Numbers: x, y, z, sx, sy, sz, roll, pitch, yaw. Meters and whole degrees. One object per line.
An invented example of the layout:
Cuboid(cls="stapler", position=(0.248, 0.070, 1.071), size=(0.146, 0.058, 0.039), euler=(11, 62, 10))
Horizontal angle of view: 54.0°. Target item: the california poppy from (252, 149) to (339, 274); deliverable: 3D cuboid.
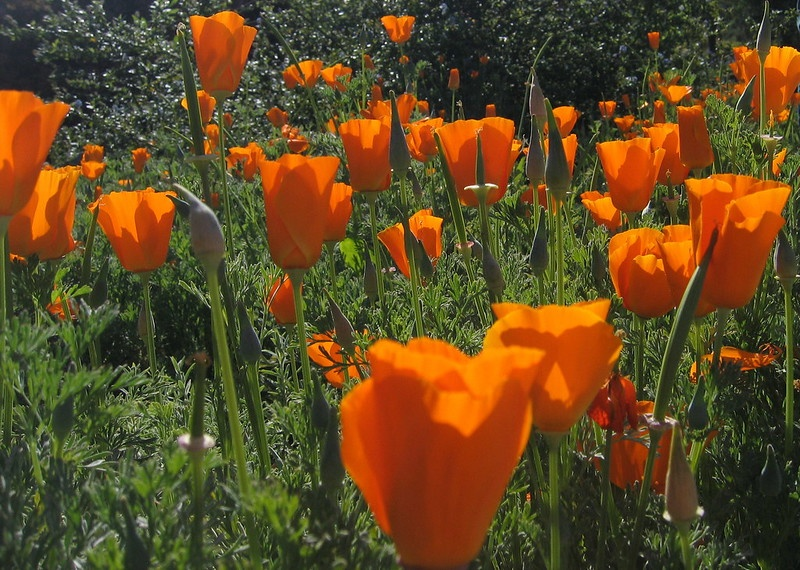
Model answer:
Cuboid(cls="california poppy", position=(-0.235, -0.189, 1.828), size=(0.187, 0.334, 0.215), euler=(9, 25, -11))

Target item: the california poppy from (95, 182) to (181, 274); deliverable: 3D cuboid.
Cuboid(cls="california poppy", position=(-0.678, -0.147, 2.048), size=(0.183, 0.236, 0.235), euler=(0, 1, -22))

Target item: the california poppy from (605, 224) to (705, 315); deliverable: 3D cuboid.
Cuboid(cls="california poppy", position=(0.599, -0.059, 1.825), size=(0.183, 0.221, 0.192), euler=(-5, 11, -45))

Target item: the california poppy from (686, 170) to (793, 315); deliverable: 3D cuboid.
Cuboid(cls="california poppy", position=(0.705, -0.098, 1.679), size=(0.189, 0.299, 0.207), euler=(1, 1, 21))

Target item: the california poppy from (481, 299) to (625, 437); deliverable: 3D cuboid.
Cuboid(cls="california poppy", position=(0.249, 0.147, 1.365), size=(0.196, 0.201, 0.210), euler=(6, -13, -28))
